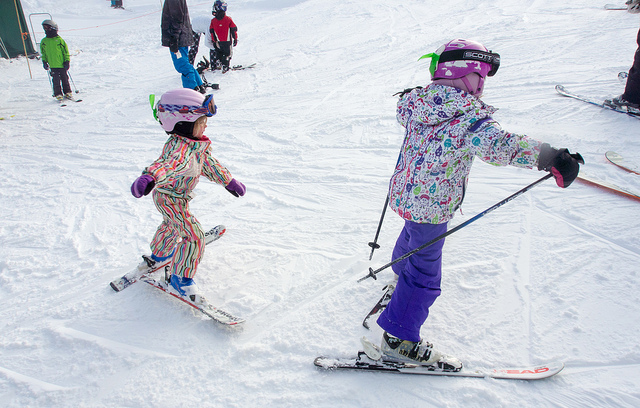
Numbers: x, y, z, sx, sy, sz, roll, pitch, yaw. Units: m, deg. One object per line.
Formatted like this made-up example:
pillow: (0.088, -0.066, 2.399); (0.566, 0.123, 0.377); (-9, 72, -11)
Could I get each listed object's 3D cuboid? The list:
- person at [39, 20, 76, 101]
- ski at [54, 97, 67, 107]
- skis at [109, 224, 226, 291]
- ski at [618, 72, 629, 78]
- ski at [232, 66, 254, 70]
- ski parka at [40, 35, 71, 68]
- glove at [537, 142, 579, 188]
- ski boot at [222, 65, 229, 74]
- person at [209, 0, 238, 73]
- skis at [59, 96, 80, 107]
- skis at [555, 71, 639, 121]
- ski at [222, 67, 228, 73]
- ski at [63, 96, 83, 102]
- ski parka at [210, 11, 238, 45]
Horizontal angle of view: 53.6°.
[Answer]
person: (-6.190, -3.374, 14.843); (0.580, 1.781, 0.794); (-9, 30, -20)
ski: (-6.079, -2.388, 14.801); (0.064, 0.044, 0.412); (-18, 44, -41)
skis: (-2.344, 0.877, 9.824); (2.472, 0.250, 0.189); (-21, 1, -7)
ski: (6.665, -2.869, 13.931); (0.221, 0.048, 0.194); (-15, 33, 2)
ski: (-2.139, -3.751, 17.381); (0.545, 0.033, 0.089); (-13, 29, -29)
ski parka: (-6.231, -3.598, 14.868); (0.574, 0.695, 0.468); (-9, 30, -22)
glove: (3.278, -0.522, 8.840); (0.490, 0.640, 0.634); (0, -2, 4)
ski boot: (-2.575, -3.672, 17.171); (0.064, 0.188, 0.172); (20, 56, -42)
person: (-2.643, -4.486, 16.783); (0.742, 1.921, 0.757); (8, 29, 9)
skis: (-5.867, -2.451, 14.940); (0.752, 0.155, 0.132); (15, -8, 32)
skis: (5.889, -2.259, 13.365); (0.284, 0.221, 2.074); (-36, 50, -13)
ski: (-2.582, -3.652, 17.165); (0.116, 0.145, 0.058); (30, 8, 33)
ski: (-5.839, -2.497, 15.027); (0.298, 0.038, 0.068); (14, 44, -31)
ski parka: (-2.549, -4.639, 16.612); (0.676, 0.949, 0.537); (-3, 28, -10)
